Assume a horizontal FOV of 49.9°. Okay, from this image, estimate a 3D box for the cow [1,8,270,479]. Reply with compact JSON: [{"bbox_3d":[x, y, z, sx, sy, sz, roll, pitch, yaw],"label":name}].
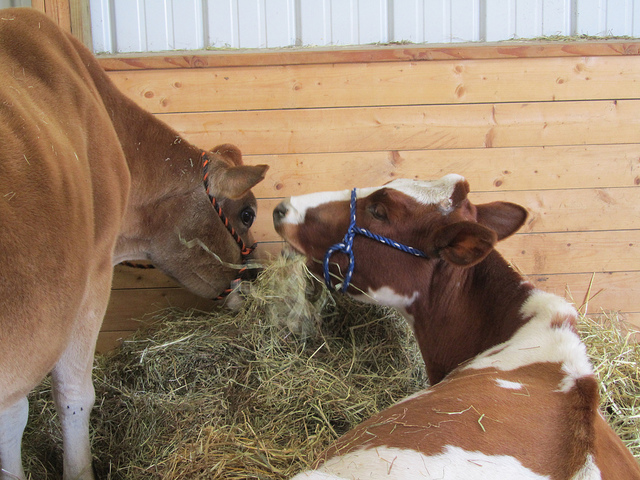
[{"bbox_3d":[-1.188,0.065,3.912,0.723,2.410,1.558,16,19,41],"label":"cow"}]
